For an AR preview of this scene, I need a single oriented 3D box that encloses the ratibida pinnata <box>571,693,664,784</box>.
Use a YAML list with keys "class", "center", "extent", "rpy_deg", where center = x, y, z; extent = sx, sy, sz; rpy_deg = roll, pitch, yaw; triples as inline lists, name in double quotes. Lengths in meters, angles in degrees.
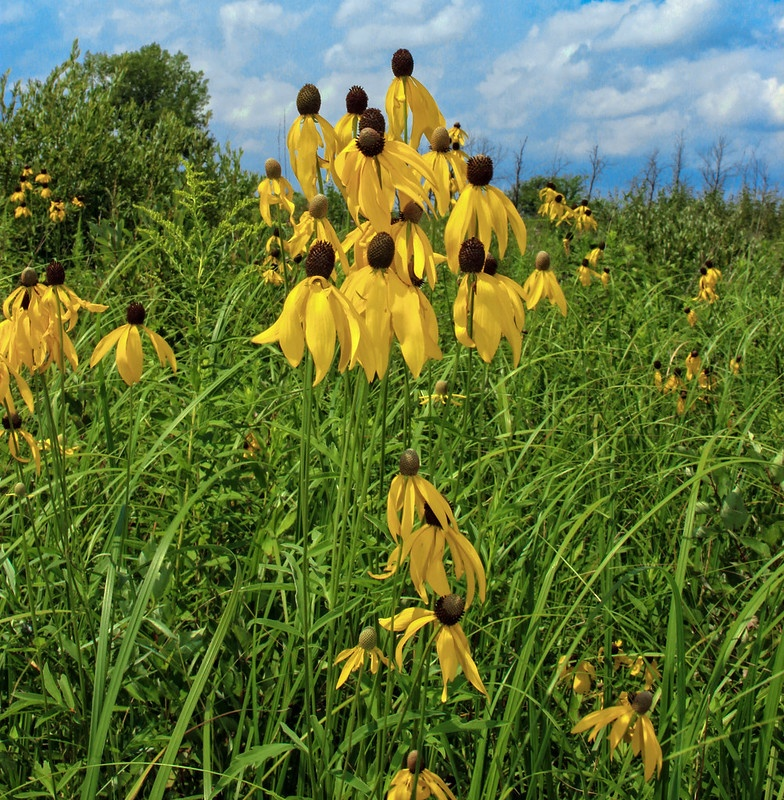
- class: "ratibida pinnata"
  center: [0.687, 0.901, 2.097]
  extent: [0.161, 0.151, 0.183]
  rpy_deg: [23, 5, 29]
